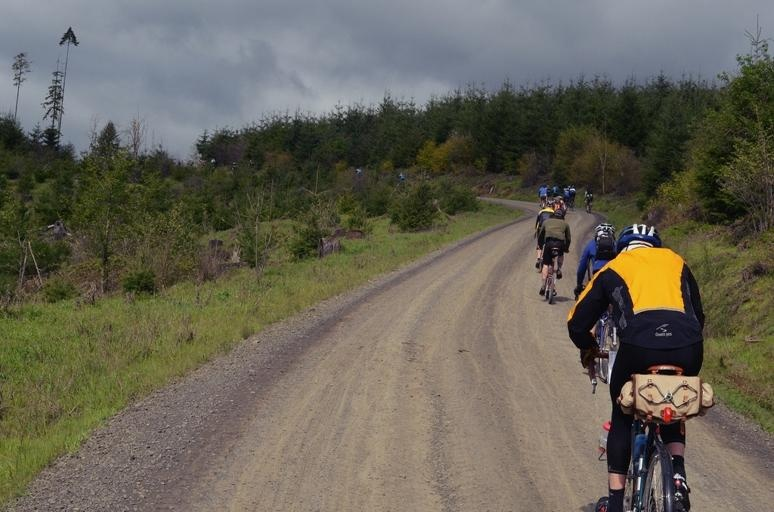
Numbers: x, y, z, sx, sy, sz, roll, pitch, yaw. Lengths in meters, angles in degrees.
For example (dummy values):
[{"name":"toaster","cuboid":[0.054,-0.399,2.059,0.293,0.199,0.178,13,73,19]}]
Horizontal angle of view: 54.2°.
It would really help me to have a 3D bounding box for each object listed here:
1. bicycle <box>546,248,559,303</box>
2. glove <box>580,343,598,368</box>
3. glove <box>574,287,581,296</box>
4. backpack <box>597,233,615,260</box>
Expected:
[{"name":"bicycle","cuboid":[5.128,0.556,23.668,0.493,1.740,0.788,-1,7,11]},{"name":"glove","cuboid":[3.980,1.977,14.979,0.185,0.287,0.633,2,22,13]},{"name":"glove","cuboid":[4.447,0.839,17.712,0.159,0.221,0.230,-8,-26,11]},{"name":"backpack","cuboid":[5.160,-0.196,17.857,0.381,0.607,0.596,-1,15,9]}]
